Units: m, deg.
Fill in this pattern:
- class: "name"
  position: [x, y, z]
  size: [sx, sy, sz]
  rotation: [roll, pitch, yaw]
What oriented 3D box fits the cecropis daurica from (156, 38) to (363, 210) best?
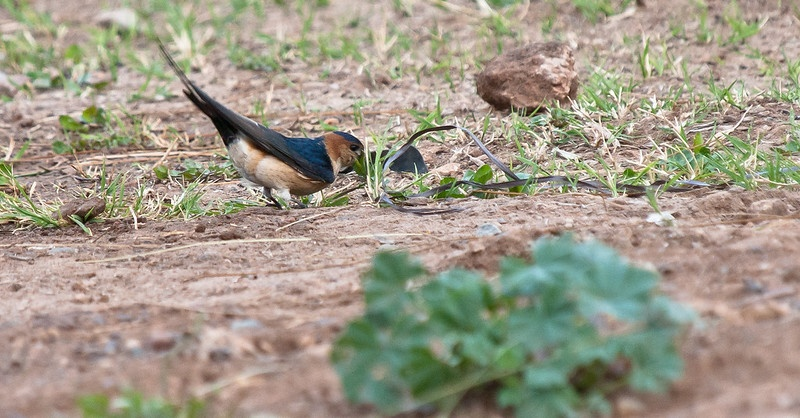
- class: "cecropis daurica"
  position: [-1.211, -0.529, 6.612]
  size: [0.537, 2.131, 0.788]
  rotation: [7, 78, 44]
